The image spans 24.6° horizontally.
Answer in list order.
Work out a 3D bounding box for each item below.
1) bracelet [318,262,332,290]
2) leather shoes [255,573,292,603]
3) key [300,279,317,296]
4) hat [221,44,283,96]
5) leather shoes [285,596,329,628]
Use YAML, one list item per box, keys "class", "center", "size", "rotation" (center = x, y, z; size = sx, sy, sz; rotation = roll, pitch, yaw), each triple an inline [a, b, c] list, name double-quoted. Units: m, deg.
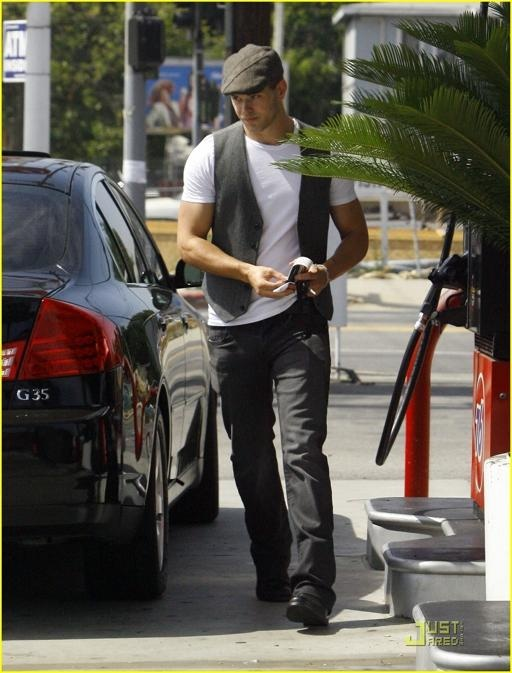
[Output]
- class: "bracelet"
  center: [0.220, -0.197, 3.663]
  size: [0.023, 0.067, 0.053]
  rotation: [0, -13, -15]
- class: "leather shoes"
  center: [0.063, 0.850, 3.941]
  size: [0.122, 0.093, 0.069]
  rotation: [-1, 0, 5]
- class: "key"
  center: [0.168, -0.149, 3.625]
  size: [0.046, 0.033, 0.017]
  rotation: [39, 7, -6]
- class: "hat"
  center: [-0.012, -0.867, 3.805]
  size: [0.201, 0.183, 0.214]
  rotation: [-1, 3, 0]
- class: "leather shoes"
  center: [0.158, 0.832, 3.538]
  size: [0.124, 0.128, 0.176]
  rotation: [-1, 3, 2]
